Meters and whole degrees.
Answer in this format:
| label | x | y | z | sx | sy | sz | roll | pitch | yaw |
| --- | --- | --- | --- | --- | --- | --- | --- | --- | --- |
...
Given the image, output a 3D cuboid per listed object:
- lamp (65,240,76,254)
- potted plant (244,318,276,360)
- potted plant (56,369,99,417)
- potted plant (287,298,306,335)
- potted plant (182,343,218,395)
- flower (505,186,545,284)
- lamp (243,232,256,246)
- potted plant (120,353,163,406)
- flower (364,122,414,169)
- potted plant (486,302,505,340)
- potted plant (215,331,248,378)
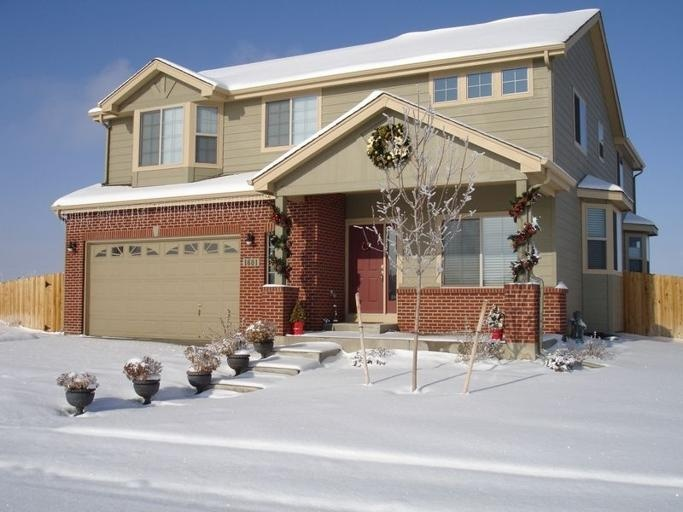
| label | x | y | z | sx | sy | sz | roll | pitch | yaw |
| --- | --- | --- | --- | --- | --- | --- | --- | --- | --- |
| lamp | -8.564 | -0.255 | 21.828 | 0.379 | 0.380 | 0.095 | 2 | 3 | 18 |
| potted plant | -1.788 | 1.897 | 15.831 | 0.695 | 0.838 | 0.789 | -2 | -6 | 6 |
| potted plant | -4.674 | 2.454 | 12.164 | 0.669 | 0.827 | 0.760 | -3 | -2 | 17 |
| potted plant | -1.126 | 1.599 | 17.668 | 0.345 | 0.842 | 0.575 | 3 | -6 | -28 |
| potted plant | -2.792 | 2.287 | 13.839 | 0.649 | 0.899 | 0.583 | 1 | -5 | -13 |
| flower | 4.145 | -0.479 | 15.566 | 0.686 | 2.182 | 0.472 | -1 | -5 | 16 |
| lamp | -2.553 | -0.448 | 19.265 | 0.298 | 0.595 | 0.312 | 0 | -5 | 2 |
| potted plant | -3.651 | 2.434 | 12.979 | 0.758 | 0.847 | 0.733 | 3 | -8 | -33 |
| flower | 1.013 | -2.632 | 15.729 | 1.110 | 1.284 | 0.546 | 2 | -6 | 37 |
| potted plant | 3.566 | 1.590 | 15.885 | 0.383 | 0.721 | 0.993 | -1 | -5 | 12 |
| potted plant | -2.260 | 2.277 | 14.763 | 0.675 | 0.840 | 0.584 | 1 | -13 | -13 |
